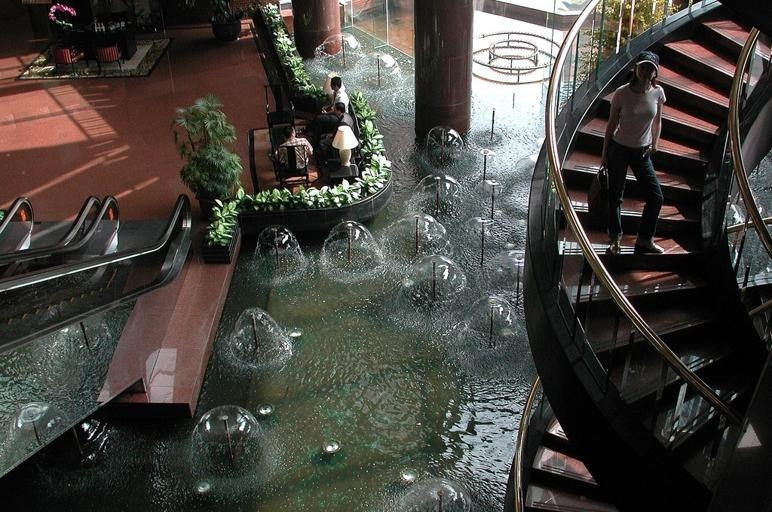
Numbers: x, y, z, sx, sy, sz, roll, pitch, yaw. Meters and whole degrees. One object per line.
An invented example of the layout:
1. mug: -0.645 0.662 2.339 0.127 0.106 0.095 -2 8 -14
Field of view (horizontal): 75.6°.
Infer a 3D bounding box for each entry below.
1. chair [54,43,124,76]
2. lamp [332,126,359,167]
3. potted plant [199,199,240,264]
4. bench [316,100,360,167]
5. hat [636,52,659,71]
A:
1. chair: -9.823 -6.456 16.473 1.199 0.644 0.503 3 44 -3
2. lamp: -0.927 -2.420 11.173 0.485 0.702 0.506 -24 62 -13
3. potted plant: -3.353 -0.474 10.112 0.445 0.450 1.507 1 51 -1
4. bench: -1.121 -2.763 11.580 0.939 1.568 0.684 12 54 1
5. hat: 3.094 -2.263 5.873 0.230 0.187 0.246 18 53 14
